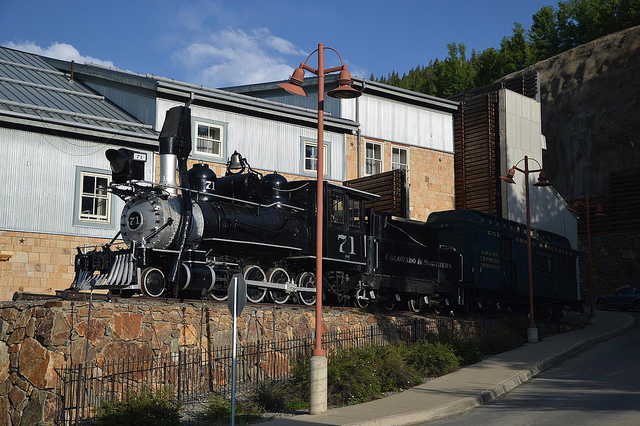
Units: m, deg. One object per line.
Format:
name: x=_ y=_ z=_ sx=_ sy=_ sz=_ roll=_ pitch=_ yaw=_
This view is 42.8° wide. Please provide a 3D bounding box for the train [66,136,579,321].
train: x=6.672 y=1.331 z=41.464 sx=40.131 sy=8.886 sz=6.994 roll=8 pitch=-10 yaw=-44
